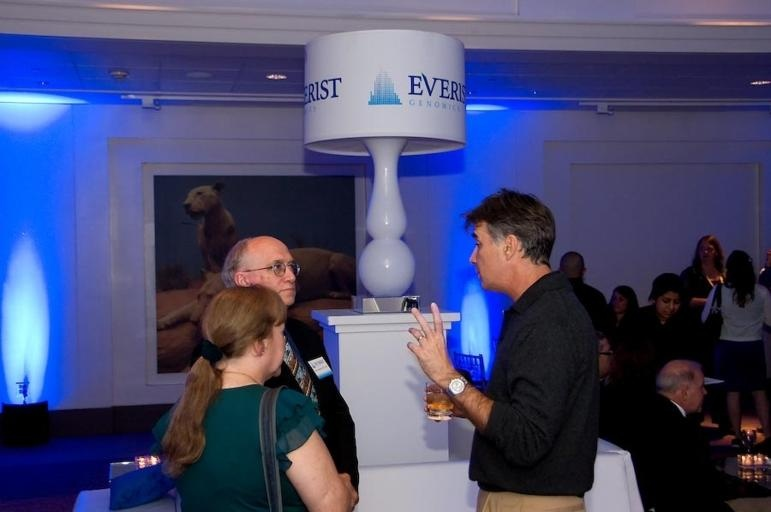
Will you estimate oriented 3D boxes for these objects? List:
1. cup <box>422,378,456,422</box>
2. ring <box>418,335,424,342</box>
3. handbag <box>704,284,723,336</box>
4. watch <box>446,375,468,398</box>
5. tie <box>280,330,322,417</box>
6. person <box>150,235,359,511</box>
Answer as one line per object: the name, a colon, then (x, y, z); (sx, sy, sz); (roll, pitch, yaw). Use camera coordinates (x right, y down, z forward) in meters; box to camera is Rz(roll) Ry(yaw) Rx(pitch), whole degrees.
cup: (0.292, 0.782, 3.932); (0.168, 0.182, 0.166); (0, -12, 0)
ring: (0.181, 0.424, 3.750); (0.022, 0.023, 0.022); (40, 22, -19)
handbag: (3.413, 0.591, 7.600); (0.151, 0.441, 0.326); (4, 8, 14)
watch: (0.361, 0.654, 3.701); (0.072, 0.107, 0.108); (45, -1, 17)
tie: (-0.452, 0.613, 3.908); (0.184, 0.405, 0.155); (-2, 2, -3)
person: (-0.514, 0.567, 3.954); (0.697, 1.369, 0.639); (-2, 2, -14)
